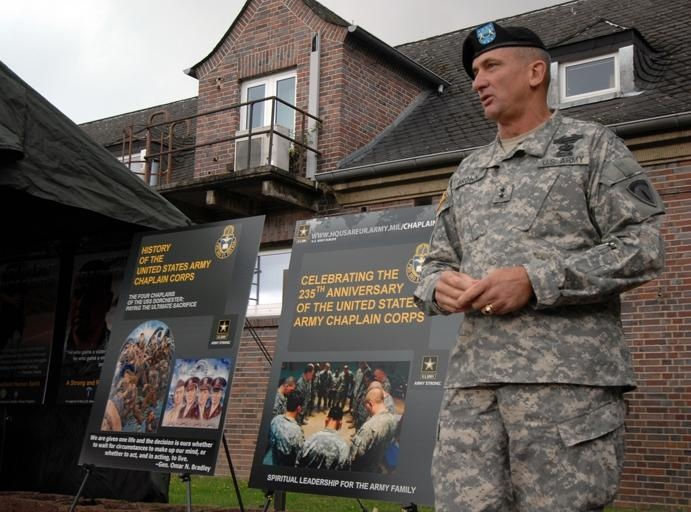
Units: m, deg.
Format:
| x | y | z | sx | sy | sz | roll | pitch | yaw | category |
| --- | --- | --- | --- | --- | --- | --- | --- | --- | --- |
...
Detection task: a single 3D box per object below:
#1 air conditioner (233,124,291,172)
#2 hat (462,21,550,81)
| x | y | z | sx | sy | sz | roll | pitch | yaw | category |
| --- | --- | --- | --- | --- | --- | --- | --- | --- | --- |
| -1.414 | -1.818 | 12.026 | 1.083 | 0.902 | 0.565 | -2 | -6 | 38 | air conditioner |
| 0.672 | -0.943 | 3.174 | 0.468 | 0.168 | 0.341 | 1 | -17 | -7 | hat |
